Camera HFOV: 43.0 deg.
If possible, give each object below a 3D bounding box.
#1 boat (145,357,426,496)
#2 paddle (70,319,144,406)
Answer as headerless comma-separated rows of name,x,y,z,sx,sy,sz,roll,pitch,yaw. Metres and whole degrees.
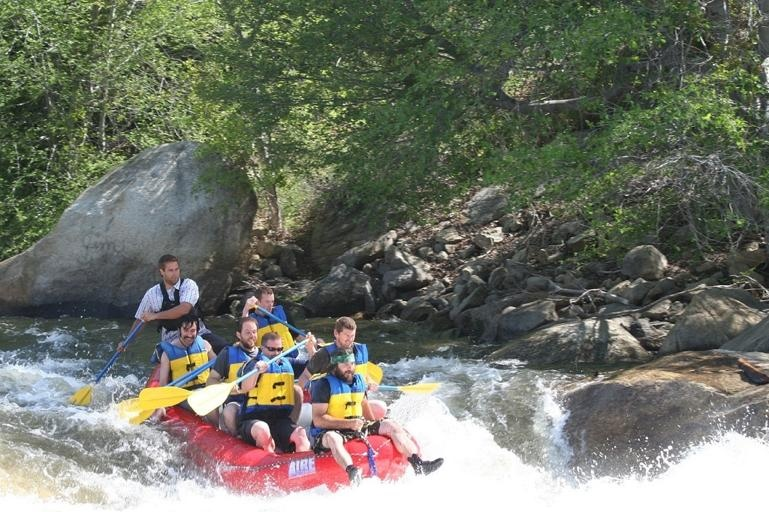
boat,-1.729,3.203,15.658,4.015,1.113,1.194,-1,-11,25
paddle,-5.346,2.108,18.850,0.399,2.292,0.178,42,-35,7
